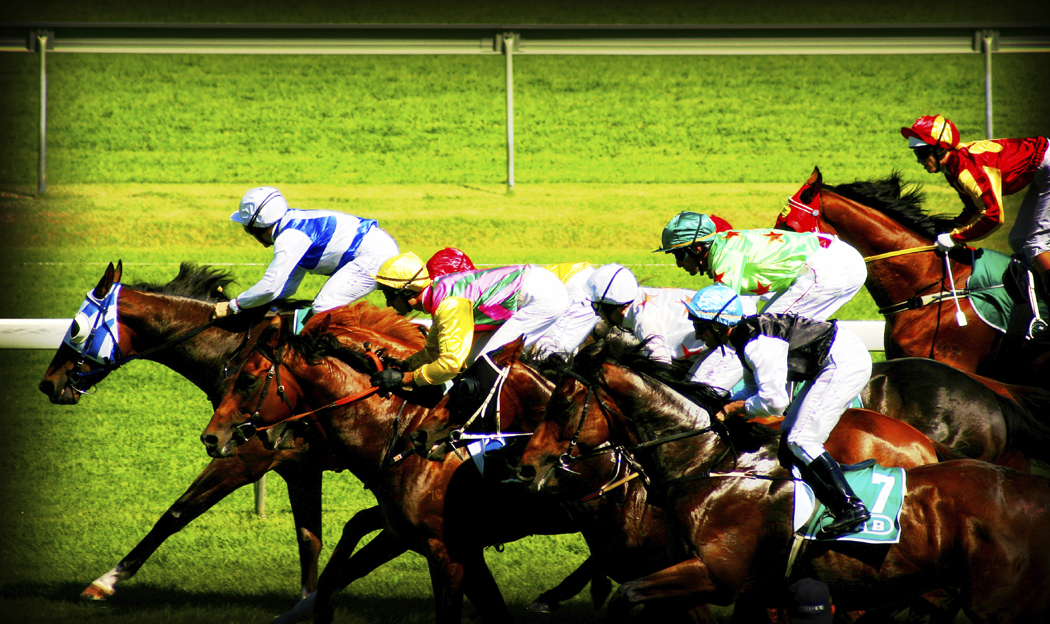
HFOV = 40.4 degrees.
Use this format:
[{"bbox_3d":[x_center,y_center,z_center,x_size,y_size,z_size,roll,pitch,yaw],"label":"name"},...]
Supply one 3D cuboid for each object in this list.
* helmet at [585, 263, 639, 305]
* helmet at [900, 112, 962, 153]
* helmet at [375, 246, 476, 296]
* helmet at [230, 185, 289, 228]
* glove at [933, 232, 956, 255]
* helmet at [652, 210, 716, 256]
[{"bbox_3d":[0.680,-0.249,11.162,0.380,0.299,0.280,22,13,10],"label":"helmet"},{"bbox_3d":[3.584,-1.623,12.410,0.507,0.272,0.356,15,5,-11],"label":"helmet"},{"bbox_3d":[-0.817,-0.349,11.200,0.618,0.200,0.391,-1,9,-15],"label":"helmet"},{"bbox_3d":[-2.222,-0.916,11.910,0.446,0.217,0.294,-2,31,-1],"label":"helmet"},{"bbox_3d":[3.576,-0.620,12.163,0.165,0.152,0.160,5,2,11],"label":"glove"},{"bbox_3d":[1.283,-0.675,11.560,0.433,0.217,0.334,-7,7,-3],"label":"helmet"}]
